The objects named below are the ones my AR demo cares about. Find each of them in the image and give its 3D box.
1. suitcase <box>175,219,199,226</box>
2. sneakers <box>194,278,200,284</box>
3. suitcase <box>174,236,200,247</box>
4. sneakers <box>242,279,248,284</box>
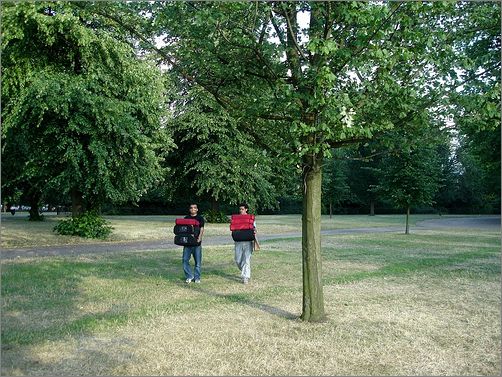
[{"bbox_3d":[-1.738,0.924,11.779,0.657,0.194,0.317,5,-5,-12],"label":"suitcase"},{"bbox_3d":[-1.466,2.489,11.582,0.114,0.092,0.209,0,-9,-9],"label":"sneakers"},{"bbox_3d":[-1.763,1.429,11.610,0.448,0.187,0.335,2,-2,23],"label":"suitcase"},{"bbox_3d":[-0.136,2.517,11.647,0.108,0.119,0.107,0,2,-13],"label":"sneakers"}]
